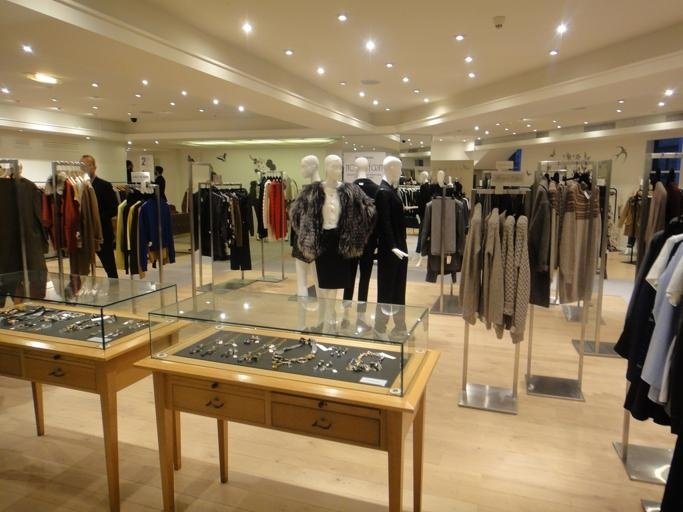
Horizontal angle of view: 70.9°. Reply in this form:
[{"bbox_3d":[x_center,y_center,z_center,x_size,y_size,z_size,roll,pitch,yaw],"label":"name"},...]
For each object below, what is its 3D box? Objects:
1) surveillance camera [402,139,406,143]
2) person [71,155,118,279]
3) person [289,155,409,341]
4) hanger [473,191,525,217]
[{"bbox_3d":[1.382,-2.583,10.739,0.084,0.090,0.067,1,29,8],"label":"surveillance camera"},{"bbox_3d":[-3.151,-0.462,6.429,0.375,1.700,0.709,-7,16,-25],"label":"person"},{"bbox_3d":[-0.055,-0.240,4.721,0.890,1.445,1.243,-1,15,-3],"label":"person"},{"bbox_3d":[1.410,-0.485,4.306,0.440,0.231,0.447,7,17,23],"label":"hanger"}]
